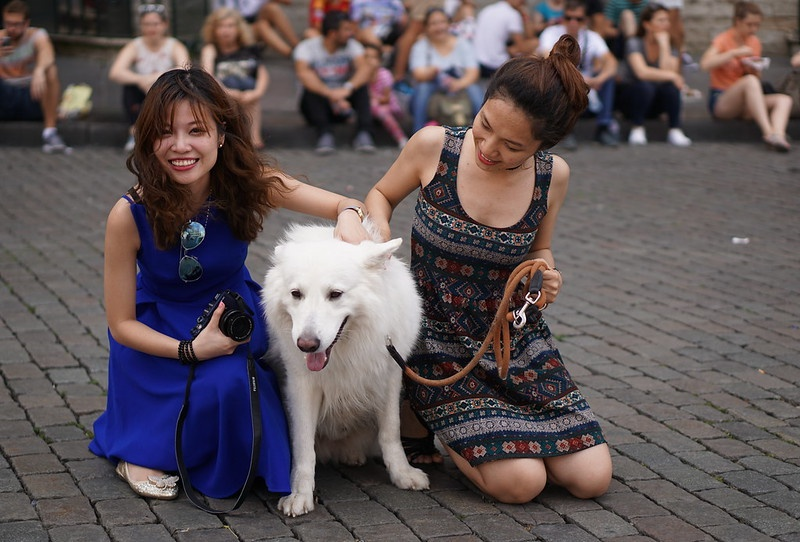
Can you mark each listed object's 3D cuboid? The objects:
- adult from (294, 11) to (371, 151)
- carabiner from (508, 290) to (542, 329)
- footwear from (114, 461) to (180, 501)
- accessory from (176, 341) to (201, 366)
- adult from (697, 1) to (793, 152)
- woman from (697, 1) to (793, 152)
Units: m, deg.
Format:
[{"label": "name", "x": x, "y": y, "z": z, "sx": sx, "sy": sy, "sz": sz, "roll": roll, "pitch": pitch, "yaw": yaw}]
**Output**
[{"label": "adult", "x": -0.846, "y": -2.426, "z": 12.223, "sx": 0.997, "sy": 1.384, "sz": 1.660, "roll": -7, "pitch": 42, "yaw": -11}, {"label": "carabiner", "x": 0.818, "y": 0.264, "z": 6.358, "sx": 0.163, "sy": 0.063, "sz": 0.309, "roll": 42, "pitch": 44, "yaw": 2}, {"label": "footwear", "x": -1.664, "y": 1.378, "z": 6.318, "sx": 0.352, "sy": 0.126, "sz": 0.199, "roll": 7, "pitch": 12, "yaw": 28}, {"label": "accessory", "x": -1.380, "y": 0.546, "z": 6.256, "sx": 0.144, "sy": 0.109, "sz": 0.162, "roll": 7, "pitch": 1, "yaw": 2}, {"label": "adult", "x": 2.640, "y": -1.451, "z": 7.165, "sx": 0.289, "sy": 1.010, "sz": 0.777, "roll": -11, "pitch": 26, "yaw": -35}, {"label": "woman", "x": 2.639, "y": -1.452, "z": 7.166, "sx": 0.289, "sy": 1.010, "sz": 0.774, "roll": -11, "pitch": 26, "yaw": -35}]
